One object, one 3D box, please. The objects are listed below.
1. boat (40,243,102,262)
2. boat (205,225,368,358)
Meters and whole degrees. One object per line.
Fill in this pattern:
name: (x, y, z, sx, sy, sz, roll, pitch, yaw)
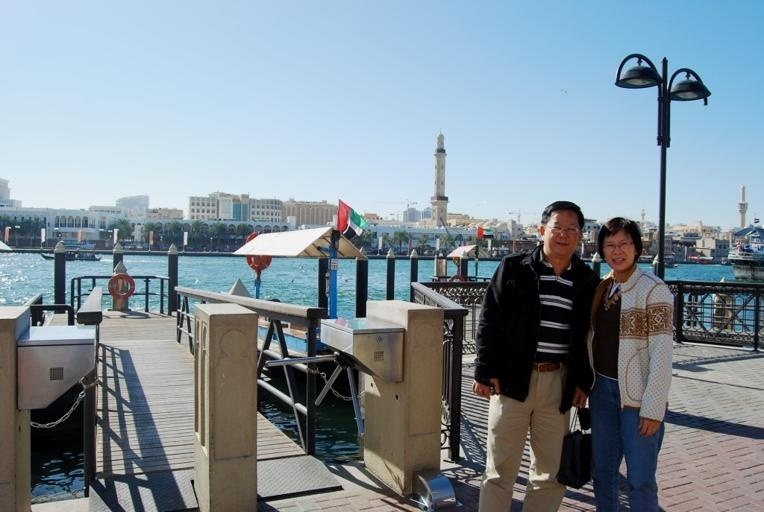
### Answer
boat: (-39.701, -0.392, 85.743, 5.436, 2.033, 2.913, 0, 2, 21)
boat: (-2.336, 1.161, 17.618, 2.559, 3.988, 3.859, 4, -4, -41)
